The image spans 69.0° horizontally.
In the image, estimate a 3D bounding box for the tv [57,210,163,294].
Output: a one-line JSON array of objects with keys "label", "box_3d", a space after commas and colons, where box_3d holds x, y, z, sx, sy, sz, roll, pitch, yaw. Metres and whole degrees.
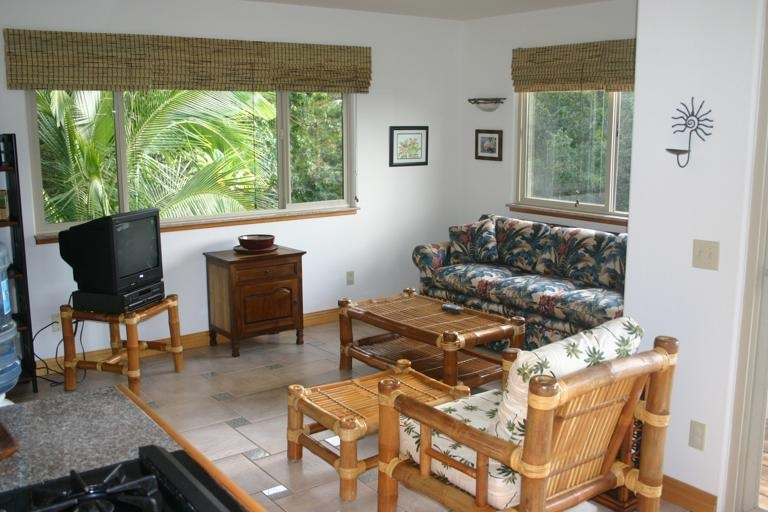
[{"label": "tv", "box_3d": [-2.132, -0.100, 4.643, 0.734, 0.621, 0.696, 3, 11, 19]}]

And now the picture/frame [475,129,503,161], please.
[{"label": "picture/frame", "box_3d": [1.208, -1.277, 6.377, 0.372, 0.358, 0.028, 9, 13, 40]}]

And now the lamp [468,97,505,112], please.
[{"label": "lamp", "box_3d": [1.139, -1.724, 6.342, 0.145, 0.159, 0.484, -8, 17, -36]}]

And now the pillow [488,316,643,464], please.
[{"label": "pillow", "box_3d": [0.854, 0.575, 2.586, 0.725, 0.501, 0.257, -7, 16, -32]}]

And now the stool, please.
[{"label": "stool", "box_3d": [-2.231, 0.730, 4.765, 0.737, 0.605, 0.747, 2, 6, 15]}]

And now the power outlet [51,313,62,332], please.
[{"label": "power outlet", "box_3d": [-2.839, 0.574, 4.818, 0.072, 0.180, 0.043, -3, 15, -18]}]

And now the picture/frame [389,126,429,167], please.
[{"label": "picture/frame", "box_3d": [0.260, -1.273, 6.395, 0.498, 0.438, 0.036, -5, 12, -33]}]

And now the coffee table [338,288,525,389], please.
[{"label": "coffee table", "box_3d": [0.358, 0.754, 4.817, 0.886, 0.604, 1.467, -7, 10, -38]}]

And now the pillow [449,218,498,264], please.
[{"label": "pillow", "box_3d": [0.936, -0.172, 5.912, 0.488, 0.463, 0.193, -9, -14, 28]}]

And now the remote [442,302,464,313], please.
[{"label": "remote", "box_3d": [0.576, 0.446, 4.835, 0.153, 0.048, 0.083, 8, 12, 44]}]
